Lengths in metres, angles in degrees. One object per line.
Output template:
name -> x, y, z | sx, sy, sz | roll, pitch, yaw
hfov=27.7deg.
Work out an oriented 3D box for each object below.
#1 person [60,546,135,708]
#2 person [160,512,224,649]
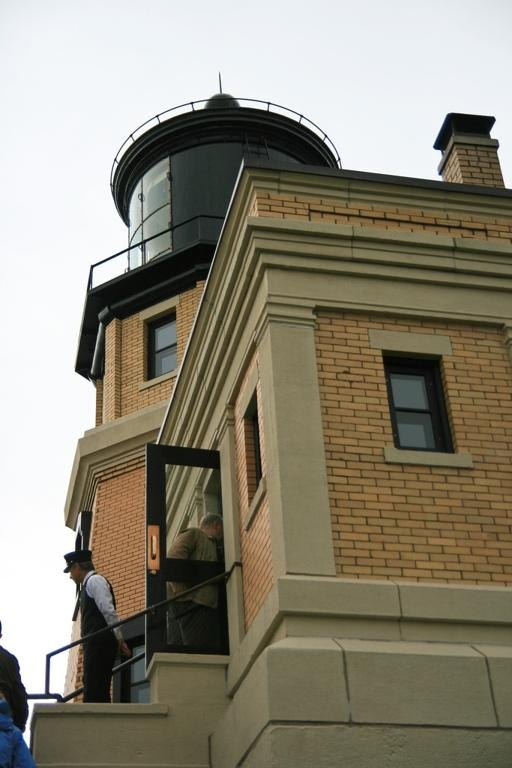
person -> -1.493, 2.462, 9.605 | 0.571, 1.881, 0.542 | -1, -36, -4
person -> -0.584, 1.842, 9.928 | 0.525, 1.586, 0.519 | 3, -42, -4
